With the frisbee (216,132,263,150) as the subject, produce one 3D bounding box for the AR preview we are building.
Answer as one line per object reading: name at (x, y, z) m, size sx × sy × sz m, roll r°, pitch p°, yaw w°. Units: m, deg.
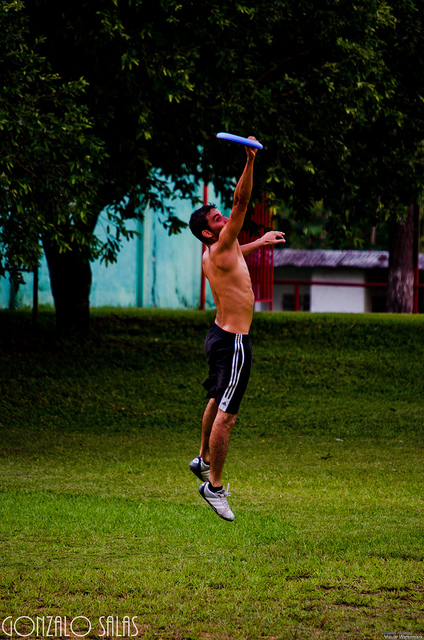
frisbee at (0.217, -1.331, 13.453) m, size 0.336 × 0.130 × 0.307 m, roll 2°, pitch 11°, yaw -4°
